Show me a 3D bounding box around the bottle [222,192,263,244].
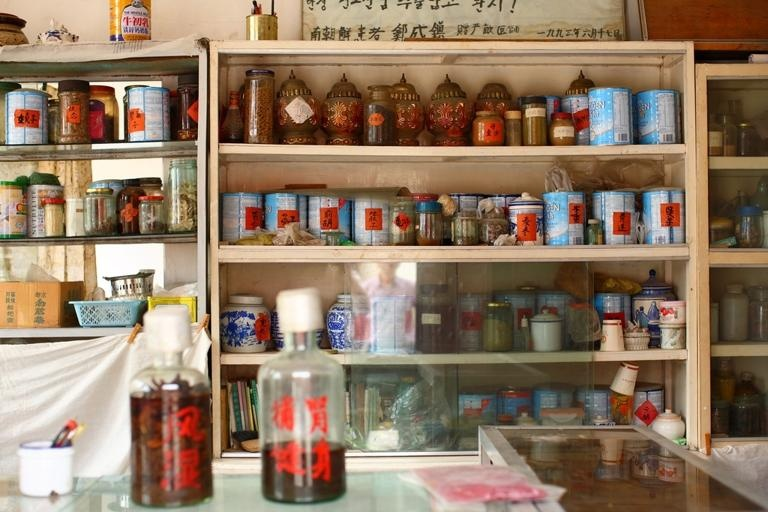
[{"bbox_3d":[-0.625,-0.181,3.871,0.242,0.214,0.222,0,-1,13],"label":"bottle"}]

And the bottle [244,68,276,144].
[{"bbox_3d":[-0.528,-0.665,3.791,0.197,0.314,0.184,1,9,0],"label":"bottle"}]

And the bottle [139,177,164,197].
[{"bbox_3d":[-1.041,-0.315,3.873,0.108,0.080,0.096,0,-2,2],"label":"bottle"}]

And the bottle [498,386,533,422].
[{"bbox_3d":[0.590,0.667,3.828,0.193,0.144,0.183,-1,-5,0],"label":"bottle"}]

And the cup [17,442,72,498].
[{"bbox_3d":[-1.033,0.667,2.682,0.168,0.124,0.169,0,-5,0],"label":"cup"}]

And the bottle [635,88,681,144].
[{"bbox_3d":[1.262,-0.623,3.840,0.248,0.224,0.231,1,8,26],"label":"bottle"}]

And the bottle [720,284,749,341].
[{"bbox_3d":[1.597,0.247,3.897,0.139,0.202,0.123,-5,-3,5],"label":"bottle"}]

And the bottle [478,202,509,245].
[{"bbox_3d":[0.494,-0.145,3.815,0.135,0.177,0.138,-2,10,0],"label":"bottle"}]

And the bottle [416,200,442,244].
[{"bbox_3d":[0.200,-0.147,3.739,0.115,0.199,0.050,-3,3,-2],"label":"bottle"}]

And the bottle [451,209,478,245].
[{"bbox_3d":[0.358,-0.111,3.809,0.142,0.126,0.133,-1,-1,27],"label":"bottle"}]

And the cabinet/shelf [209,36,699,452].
[{"bbox_3d":[0.322,-0.039,3.671,2.335,1.629,0.688,0,4,0],"label":"cabinet/shelf"}]

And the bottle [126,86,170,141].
[{"bbox_3d":[-1.081,-0.627,3.813,0.242,0.218,0.220,3,8,18],"label":"bottle"}]

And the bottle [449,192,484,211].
[{"bbox_3d":[0.374,-0.245,3.844,0.111,0.089,0.090,3,-41,-5],"label":"bottle"}]

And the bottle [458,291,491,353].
[{"bbox_3d":[0.400,0.293,3.766,0.140,0.256,0.038,-3,3,3],"label":"bottle"}]

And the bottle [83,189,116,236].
[{"bbox_3d":[-1.258,-0.196,3.820,0.155,0.199,0.151,-1,5,0],"label":"bottle"}]

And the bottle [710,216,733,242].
[{"bbox_3d":[1.503,-0.121,3.857,0.128,0.095,0.119,2,-8,0],"label":"bottle"}]

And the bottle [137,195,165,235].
[{"bbox_3d":[-1.026,-0.180,3.777,0.128,0.157,0.115,-3,4,-25],"label":"bottle"}]

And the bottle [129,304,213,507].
[{"bbox_3d":[-0.596,0.417,2.357,0.225,0.547,0.079,-4,3,-14],"label":"bottle"}]

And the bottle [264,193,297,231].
[{"bbox_3d":[-0.453,-0.190,3.870,0.189,0.169,0.168,-1,6,-11],"label":"bottle"}]

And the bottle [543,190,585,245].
[{"bbox_3d":[0.790,-0.164,3.840,0.242,0.216,0.213,-1,3,-12],"label":"bottle"}]

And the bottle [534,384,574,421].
[{"bbox_3d":[0.743,0.637,3.704,0.156,0.122,0.148,0,0,0],"label":"bottle"}]

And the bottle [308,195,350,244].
[{"bbox_3d":[-0.258,-0.154,3.904,0.222,0.204,0.203,-2,-9,16],"label":"bottle"}]

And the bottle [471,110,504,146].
[{"bbox_3d":[0.462,-0.570,3.821,0.172,0.132,0.153,5,12,18],"label":"bottle"}]

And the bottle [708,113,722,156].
[{"bbox_3d":[1.472,-0.541,3.789,0.098,0.186,0.038,-5,4,-32],"label":"bottle"}]

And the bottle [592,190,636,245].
[{"bbox_3d":[1.022,-0.173,3.763,0.164,0.230,0.070,-3,3,4],"label":"bottle"}]

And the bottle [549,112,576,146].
[{"bbox_3d":[0.777,-0.564,3.799,0.147,0.136,0.147,0,-6,-9],"label":"bottle"}]

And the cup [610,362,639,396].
[{"bbox_3d":[1.116,0.562,3.875,0.128,0.123,0.135,8,7,-1],"label":"cup"}]

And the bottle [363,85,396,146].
[{"bbox_3d":[-0.020,-0.625,3.801,0.144,0.276,0.157,-3,3,0],"label":"bottle"}]

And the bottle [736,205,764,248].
[{"bbox_3d":[1.639,-0.133,3.811,0.130,0.180,0.038,-3,3,1],"label":"bottle"}]

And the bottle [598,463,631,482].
[{"bbox_3d":[0.694,0.657,2.586,0.090,0.033,0.082,-2,3,0],"label":"bottle"}]

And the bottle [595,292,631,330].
[{"bbox_3d":[1.059,0.267,3.905,0.180,0.156,0.157,-2,-16,18],"label":"bottle"}]

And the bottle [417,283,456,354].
[{"bbox_3d":[0.225,0.276,3.755,0.165,0.300,0.033,-3,3,0],"label":"bottle"}]

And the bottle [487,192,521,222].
[{"bbox_3d":[0.539,-0.231,3.859,0.138,0.117,0.123,-1,1,-6],"label":"bottle"}]
